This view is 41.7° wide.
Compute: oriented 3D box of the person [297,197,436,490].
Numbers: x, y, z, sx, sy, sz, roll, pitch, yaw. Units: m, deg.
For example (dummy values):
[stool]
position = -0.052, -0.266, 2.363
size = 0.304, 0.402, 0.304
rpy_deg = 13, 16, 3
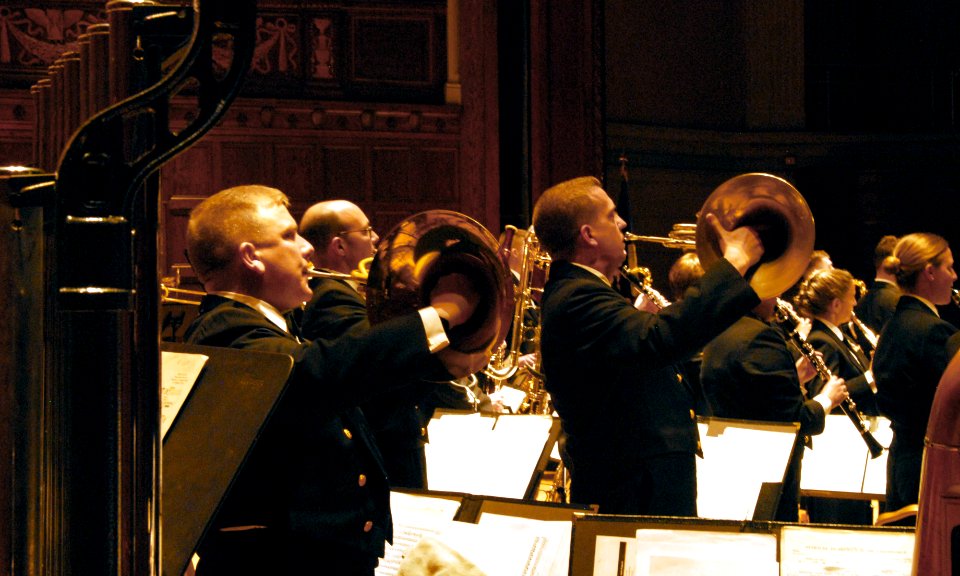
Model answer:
[person]
position = -0.797, 0.366, 8.553
size = 0.966, 1.961, 1.026
rpy_deg = 3, 1, -14

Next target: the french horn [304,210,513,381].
[french horn]
position = -0.264, -0.037, 7.423
size = 0.769, 0.850, 0.321
rpy_deg = 1, -3, -9
